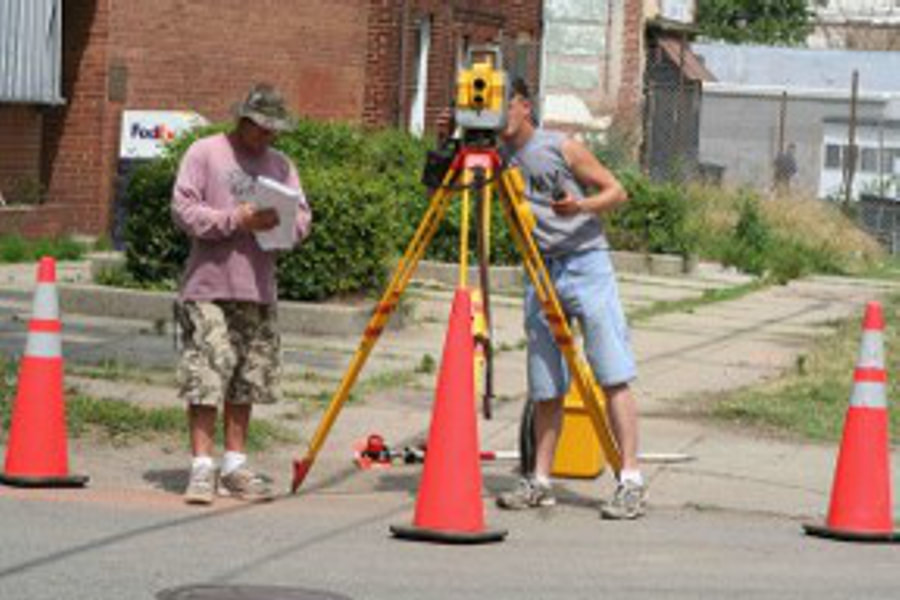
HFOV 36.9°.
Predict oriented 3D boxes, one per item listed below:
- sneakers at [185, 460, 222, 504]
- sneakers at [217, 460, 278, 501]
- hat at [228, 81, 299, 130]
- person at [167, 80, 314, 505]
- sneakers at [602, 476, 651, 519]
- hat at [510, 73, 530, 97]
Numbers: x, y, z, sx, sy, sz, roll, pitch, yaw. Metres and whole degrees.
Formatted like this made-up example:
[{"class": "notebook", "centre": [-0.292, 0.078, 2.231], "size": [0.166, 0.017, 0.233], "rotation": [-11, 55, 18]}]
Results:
[{"class": "sneakers", "centre": [-1.714, 1.222, 9.241], "size": [0.204, 0.273, 0.269], "rotation": [2, 13, -6]}, {"class": "sneakers", "centre": [-1.433, 1.248, 9.367], "size": [0.499, 0.218, 0.188], "rotation": [3, 3, 18]}, {"class": "hat", "centre": [-1.305, -1.366, 9.340], "size": [0.505, 0.260, 0.572], "rotation": [11, 14, -4]}, {"class": "person", "centre": [-1.487, -0.077, 9.342], "size": [0.973, 2.786, 0.825], "rotation": [-6, 15, -35]}, {"class": "sneakers", "centre": [1.212, 1.328, 9.315], "size": [0.204, 0.214, 0.549], "rotation": [1, 13, 32]}, {"class": "hat", "centre": [0.482, -1.472, 9.277], "size": [0.167, 0.130, 0.118], "rotation": [12, -2, -26]}]
